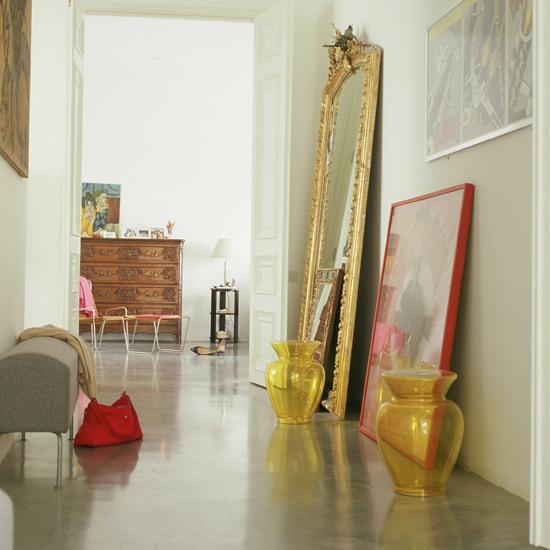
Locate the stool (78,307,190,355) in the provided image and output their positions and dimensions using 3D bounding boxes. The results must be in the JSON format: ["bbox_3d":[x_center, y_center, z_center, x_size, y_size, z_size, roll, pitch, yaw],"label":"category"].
[{"bbox_3d":[-2.290,0.877,8.843,1.684,0.685,1.962,1,-2,-11],"label":"stool"}]

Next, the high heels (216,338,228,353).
[{"bbox_3d":[-0.864,1.156,8.629,0.129,0.299,0.143,-2,12,-6],"label":"high heels"}]

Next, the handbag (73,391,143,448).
[{"bbox_3d":[-1.091,0.963,3.481,0.254,0.346,0.424,2,-2,41],"label":"handbag"}]

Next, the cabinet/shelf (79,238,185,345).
[{"bbox_3d":[-2.436,0.215,8.980,1.435,1.744,0.642,0,0,-3],"label":"cabinet/shelf"}]

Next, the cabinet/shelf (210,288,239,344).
[{"bbox_3d":[-0.924,0.712,9.671,0.548,1.041,1.092,0,-2,-4],"label":"cabinet/shelf"}]
